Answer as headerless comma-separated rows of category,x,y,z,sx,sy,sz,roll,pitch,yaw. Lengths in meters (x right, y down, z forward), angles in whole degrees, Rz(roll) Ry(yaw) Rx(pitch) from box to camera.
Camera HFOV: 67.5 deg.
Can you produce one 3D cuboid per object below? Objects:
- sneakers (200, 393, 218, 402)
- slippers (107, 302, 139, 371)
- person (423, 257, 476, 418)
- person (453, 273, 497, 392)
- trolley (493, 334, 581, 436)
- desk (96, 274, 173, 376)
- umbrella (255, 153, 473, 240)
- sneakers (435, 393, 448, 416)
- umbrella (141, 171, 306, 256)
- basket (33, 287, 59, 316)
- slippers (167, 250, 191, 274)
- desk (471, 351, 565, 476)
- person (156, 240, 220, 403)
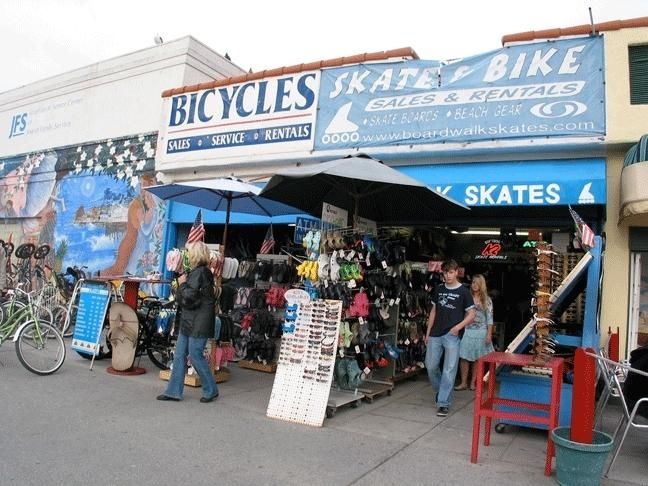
sneakers,-1.687,2.310,7.202,0.098,0.120,0.280,-2,-15,27
slippers,-3.405,1.579,8.368,0.548,1.155,0.200,4,12,19
person,1.861,1.434,7.295,0.700,2.194,0.479,3,0,21
person,2.741,1.592,8.778,0.774,2.145,0.736,5,21,22
trolley,2.971,1.954,6.783,1.004,1.321,0.942,1,2,37
desk,-3.437,1.447,8.565,1.290,1.603,1.257,2,-3,28
umbrella,0.654,-0.796,7.951,3.413,1.124,2.299,4,-1,-38
sneakers,1.761,2.400,7.185,0.171,0.304,0.194,3,0,13
umbrella,-1.735,-0.472,8.955,1.578,1.061,1.591,13,-5,13
basket,-6.838,1.500,11.945,0.184,0.685,0.924,17,-39,-11
slippers,-2.507,0.324,8.397,0.440,0.264,0.558,6,-3,-32
desk,2.413,2.030,6.324,1.271,1.799,1.208,2,-4,17
person,-1.905,1.166,7.166,0.783,2.396,0.402,3,0,-15
